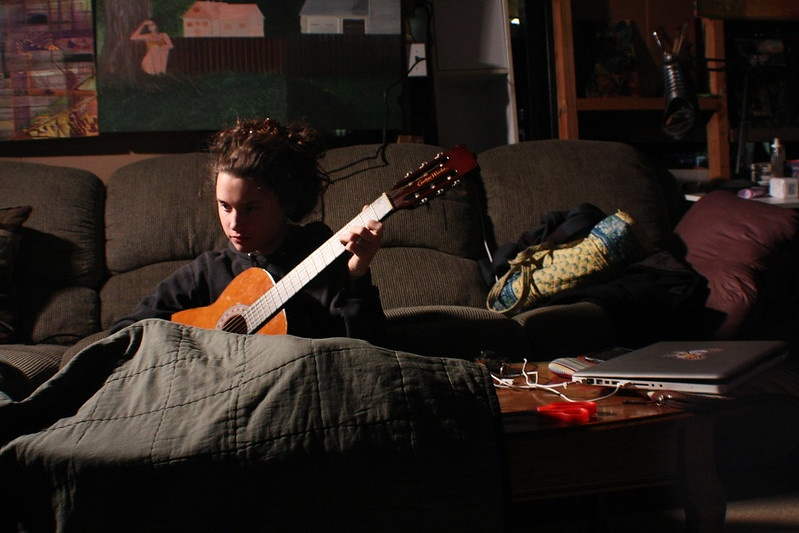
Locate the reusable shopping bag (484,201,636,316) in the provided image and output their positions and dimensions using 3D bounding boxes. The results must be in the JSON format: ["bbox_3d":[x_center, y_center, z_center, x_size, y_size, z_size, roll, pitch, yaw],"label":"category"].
[{"bbox_3d":[0.596,-0.019,2.545,0.465,0.177,0.368,-31,5,21],"label":"reusable shopping bag"}]
